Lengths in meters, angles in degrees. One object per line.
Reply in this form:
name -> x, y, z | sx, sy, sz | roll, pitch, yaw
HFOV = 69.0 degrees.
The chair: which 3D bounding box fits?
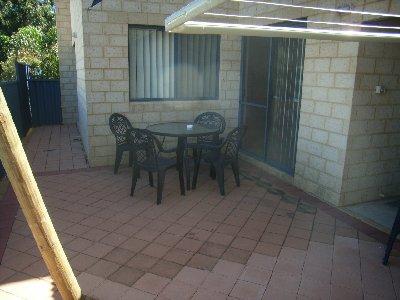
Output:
chair -> -0.503, -0.082, 5.762 | 1.261, 1.046, 2.164 | 6, 8, 41
